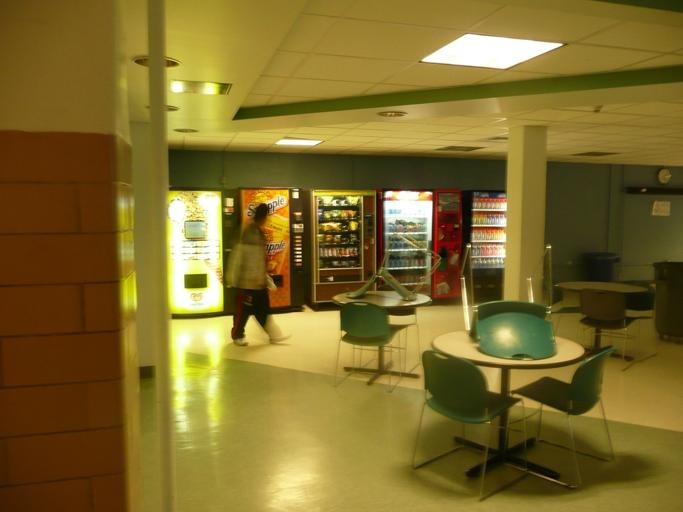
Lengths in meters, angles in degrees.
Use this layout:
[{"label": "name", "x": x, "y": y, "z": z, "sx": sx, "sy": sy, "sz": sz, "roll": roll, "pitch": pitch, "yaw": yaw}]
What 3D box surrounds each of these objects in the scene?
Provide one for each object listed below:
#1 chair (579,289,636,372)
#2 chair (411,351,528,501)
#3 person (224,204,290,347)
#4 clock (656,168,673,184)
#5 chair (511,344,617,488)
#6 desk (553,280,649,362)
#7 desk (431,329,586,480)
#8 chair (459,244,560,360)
[{"label": "chair", "x": 3.132, "y": 0.711, "z": 6.181, "sx": 0.600, "sy": 0.849, "sz": 0.657, "roll": 1, "pitch": 17, "yaw": 33}, {"label": "chair", "x": 0.909, "y": 1.122, "z": 3.854, "sx": 0.636, "sy": 1.001, "sz": 0.670, "roll": 3, "pitch": 12, "yaw": 39}, {"label": "person", "x": -1.029, "y": 0.242, "z": 6.553, "sx": 0.569, "sy": 1.791, "sz": 0.749, "roll": -5, "pitch": 10, "yaw": -35}, {"label": "clock", "x": 6.874, "y": -1.721, "z": 11.268, "sx": 0.324, "sy": 0.324, "sz": 0.085, "roll": 13, "pitch": 9, "yaw": -16}, {"label": "chair", "x": 1.660, "y": 1.124, "z": 3.943, "sx": 0.574, "sy": 0.949, "sz": 0.589, "roll": -6, "pitch": 10, "yaw": -41}, {"label": "desk", "x": 3.077, "y": 0.829, "z": 6.112, "sx": 0.746, "sy": 0.631, "sz": 0.739, "roll": 20, "pitch": -13, "yaw": -10}, {"label": "desk", "x": 1.233, "y": 1.007, "z": 4.028, "sx": 1.024, "sy": 0.856, "sz": 0.993, "roll": -4, "pitch": 5, "yaw": -34}, {"label": "chair", "x": 1.501, "y": 0.211, "z": 4.638, "sx": 0.648, "sy": 0.685, "sz": 0.626, "roll": 20, "pitch": -16, "yaw": -39}]
